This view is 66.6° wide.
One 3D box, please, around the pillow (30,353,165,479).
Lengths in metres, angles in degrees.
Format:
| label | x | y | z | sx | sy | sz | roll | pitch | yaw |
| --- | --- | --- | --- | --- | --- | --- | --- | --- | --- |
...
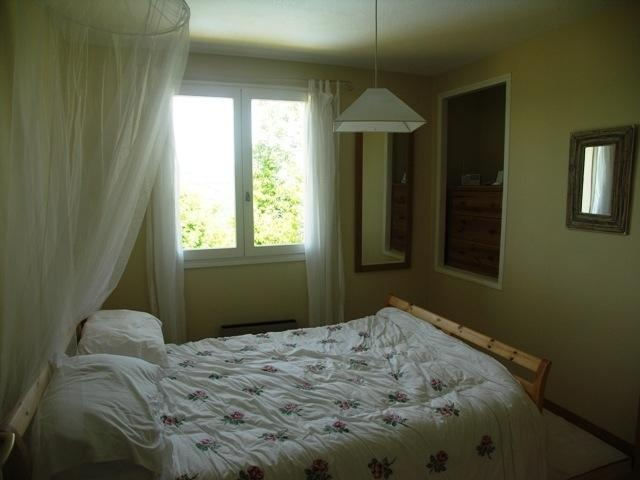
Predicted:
| label | x | y | z | sx | sy | sz | roll | pitch | yaw |
| --- | --- | --- | --- | --- | --- | --- | --- | --- | --- |
| pillow | -1.079 | 0.851 | 2.397 | 0.560 | 0.403 | 0.611 | -1 | 7 | -26 |

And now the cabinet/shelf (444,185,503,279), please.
| label | x | y | z | sx | sy | sz | roll | pitch | yaw |
| --- | --- | --- | --- | --- | --- | --- | --- | --- | --- |
| cabinet/shelf | 1.535 | -0.076 | 4.821 | 0.453 | 0.873 | 0.840 | -2 | 4 | -27 |

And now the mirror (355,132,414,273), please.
| label | x | y | z | sx | sy | sz | roll | pitch | yaw |
| --- | --- | --- | --- | --- | --- | --- | --- | --- | --- |
| mirror | 0.630 | -0.363 | 4.858 | 0.655 | 1.362 | 0.078 | -1 | 7 | -24 |

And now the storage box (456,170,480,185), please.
| label | x | y | z | sx | sy | sz | roll | pitch | yaw |
| --- | --- | --- | --- | --- | --- | --- | --- | --- | --- |
| storage box | 1.589 | -0.667 | 5.275 | 0.100 | 0.141 | 0.182 | -5 | 11 | -12 |
